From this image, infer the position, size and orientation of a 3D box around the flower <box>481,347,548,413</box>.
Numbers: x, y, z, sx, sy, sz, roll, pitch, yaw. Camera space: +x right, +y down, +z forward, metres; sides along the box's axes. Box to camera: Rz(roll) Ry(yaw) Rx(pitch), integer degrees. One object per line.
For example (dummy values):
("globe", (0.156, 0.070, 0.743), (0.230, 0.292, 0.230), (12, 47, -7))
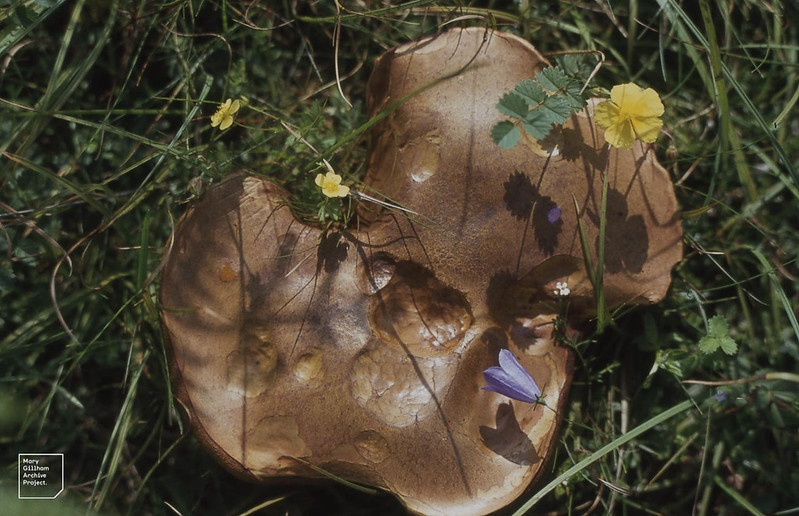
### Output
("flower", (0.587, 0.649, 5.408), (0.326, 0.130, 0.233), (39, 93, -4))

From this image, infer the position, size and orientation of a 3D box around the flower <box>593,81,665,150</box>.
("flower", (1.163, -0.751, 5.382), (0.313, 0.384, 0.107), (14, 76, 14))
